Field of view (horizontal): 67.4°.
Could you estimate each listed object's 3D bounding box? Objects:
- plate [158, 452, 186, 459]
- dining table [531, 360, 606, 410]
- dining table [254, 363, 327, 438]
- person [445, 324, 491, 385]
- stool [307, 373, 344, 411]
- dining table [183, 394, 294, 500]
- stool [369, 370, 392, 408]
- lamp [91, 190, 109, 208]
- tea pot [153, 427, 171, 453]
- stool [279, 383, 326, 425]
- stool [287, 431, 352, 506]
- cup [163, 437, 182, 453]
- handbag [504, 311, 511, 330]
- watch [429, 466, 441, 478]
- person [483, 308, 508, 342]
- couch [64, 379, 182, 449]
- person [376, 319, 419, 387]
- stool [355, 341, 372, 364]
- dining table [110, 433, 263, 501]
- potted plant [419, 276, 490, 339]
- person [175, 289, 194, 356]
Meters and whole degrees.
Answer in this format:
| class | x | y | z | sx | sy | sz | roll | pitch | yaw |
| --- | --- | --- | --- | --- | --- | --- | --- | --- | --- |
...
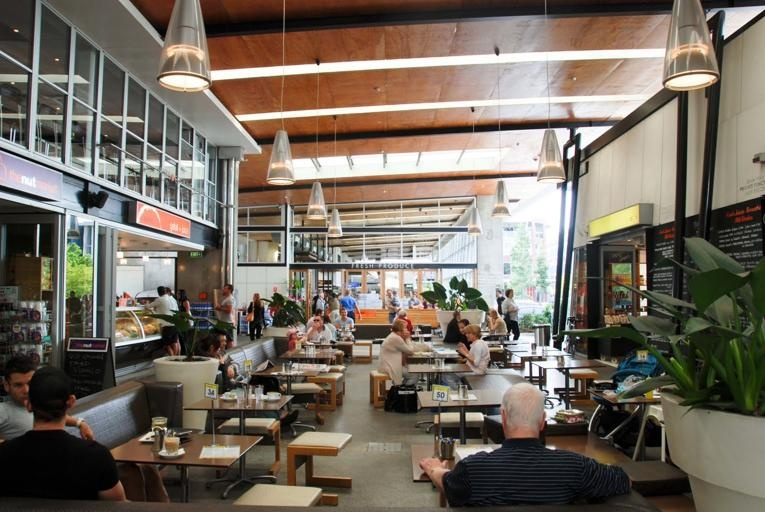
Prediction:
| class | x | y | z | sx | sy | sz | roll | pitch | yaw |
| --- | --- | --- | --- | --- | --- | --- | --- | --- | --- |
| plate | -1.755 | 1.666 | 4.795 | 0.201 | 0.045 | 0.127 | 2 | -8 | -20 |
| dining table | 2.817 | 1.787 | 8.662 | 0.992 | 0.579 | 0.978 | 1 | -4 | -8 |
| dining table | -1.338 | 1.924 | 8.227 | 1.141 | 0.803 | 0.887 | 0 | -2 | 12 |
| person | 1.260 | 1.585 | 8.538 | 0.706 | 1.166 | 0.574 | 3 | -2 | 19 |
| stool | -0.940 | 2.009 | 8.961 | 0.538 | 0.603 | 0.902 | 1 | -3 | 7 |
| dining table | -1.556 | 2.020 | 6.433 | 1.059 | 0.886 | 1.036 | 0 | -2 | 3 |
| stool | -0.070 | 2.117 | 9.164 | 0.484 | 0.485 | 0.474 | 0 | -7 | -2 |
| lamp | -4.237 | -0.851 | 8.594 | 0.148 | 0.251 | 0.270 | 9 | -8 | 2 |
| tea pot | -1.877 | 1.559 | 4.871 | 0.126 | 0.177 | 0.191 | 1 | 0 | -3 |
| stool | -1.143 | 2.086 | 8.611 | 0.808 | 0.509 | 0.703 | 0 | -8 | -1 |
| stool | -0.665 | 2.105 | 5.979 | 0.626 | 0.678 | 0.740 | -1 | -2 | 7 |
| cup | -1.765 | 1.590 | 4.820 | 0.122 | 0.095 | 0.130 | 1 | 1 | 0 |
| handbag | 3.141 | 1.626 | 14.348 | 0.145 | 0.406 | 0.296 | 0 | 7 | -18 |
| watch | 0.371 | 1.516 | 4.027 | 0.060 | 0.043 | 0.061 | 0 | 0 | 5 |
| person | 2.453 | 1.583 | 12.434 | 0.466 | 0.865 | 0.366 | -2 | 5 | -5 |
| couch | -2.464 | 1.549 | 5.567 | 0.340 | 0.423 | 1.050 | 12 | -2 | 2 |
| person | 0.281 | 1.522 | 9.136 | 0.696 | 1.018 | 0.715 | 3 | -8 | -26 |
| stool | -0.490 | 2.436 | 14.253 | 0.642 | 0.448 | 0.628 | 0 | -5 | -1 |
| dining table | -1.633 | 1.810 | 5.207 | 1.046 | 0.581 | 1.026 | 1 | -4 | 8 |
| potted plant | 1.752 | 1.244 | 14.016 | 1.584 | 1.504 | 1.425 | -2 | -4 | 6 |
| person | -3.819 | 1.310 | 11.125 | 0.451 | 1.370 | 0.336 | -1 | 1 | 7 |
